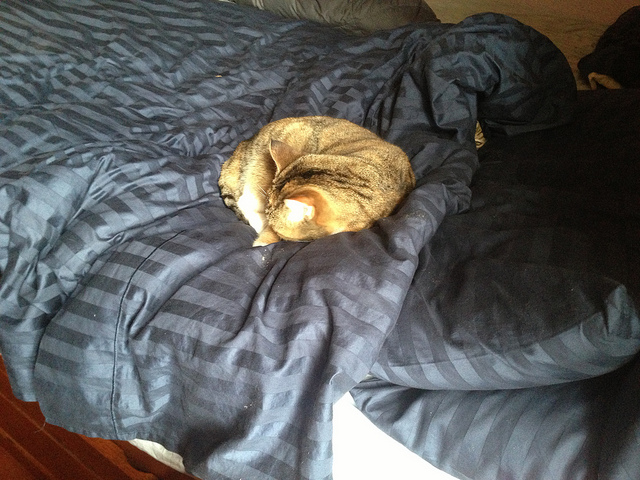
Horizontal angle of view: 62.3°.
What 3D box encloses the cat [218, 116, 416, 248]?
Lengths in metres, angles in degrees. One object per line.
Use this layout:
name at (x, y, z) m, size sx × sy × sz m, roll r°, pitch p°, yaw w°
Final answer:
cat at (0.063, -0.161, 2.068) m, size 0.713 × 0.240 × 0.543 m, roll -20°, pitch 43°, yaw -18°
